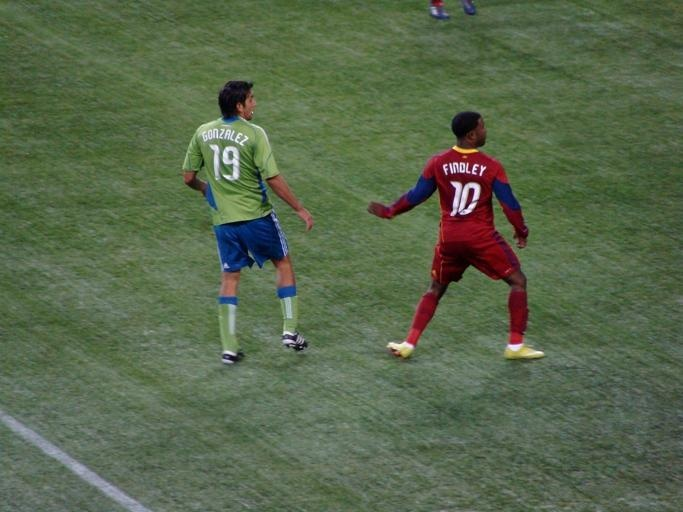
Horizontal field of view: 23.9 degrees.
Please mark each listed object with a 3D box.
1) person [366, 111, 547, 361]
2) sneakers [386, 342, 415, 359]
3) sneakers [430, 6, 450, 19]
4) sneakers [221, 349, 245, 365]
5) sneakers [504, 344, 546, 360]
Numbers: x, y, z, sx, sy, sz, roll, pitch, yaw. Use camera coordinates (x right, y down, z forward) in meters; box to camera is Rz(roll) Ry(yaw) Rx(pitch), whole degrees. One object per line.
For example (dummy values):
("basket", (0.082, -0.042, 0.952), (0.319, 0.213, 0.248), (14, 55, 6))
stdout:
("person", (1.153, -0.004, 14.927), (1.380, 1.968, 0.716), (-2, 25, 3))
("sneakers", (0.557, 0.890, 15.037), (0.251, 0.079, 0.174), (4, -2, 32))
("sneakers", (1.152, -2.812, 18.751), (0.210, 0.157, 0.233), (-2, 19, 1))
("sneakers", (-1.005, 0.951, 15.030), (0.260, 0.093, 0.089), (-13, 47, -44))
("sneakers", (1.686, 0.909, 14.977), (0.465, 0.117, 0.130), (0, 6, -5))
